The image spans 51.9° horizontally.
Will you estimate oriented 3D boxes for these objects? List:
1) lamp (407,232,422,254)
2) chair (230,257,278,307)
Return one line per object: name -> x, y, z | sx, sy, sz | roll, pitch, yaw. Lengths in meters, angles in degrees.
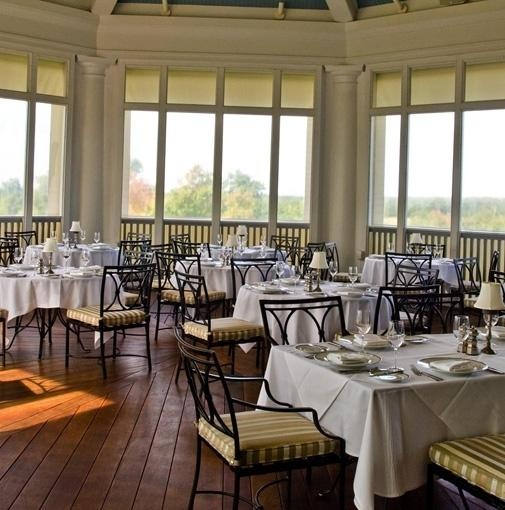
lamp -> 2.373, -0.159, 7.548 | 0.163, 0.296, 0.480 | 2, 4, 21
chair -> -0.020, 0.264, 5.749 | 0.397, 0.817, 0.482 | 1, 4, 2
